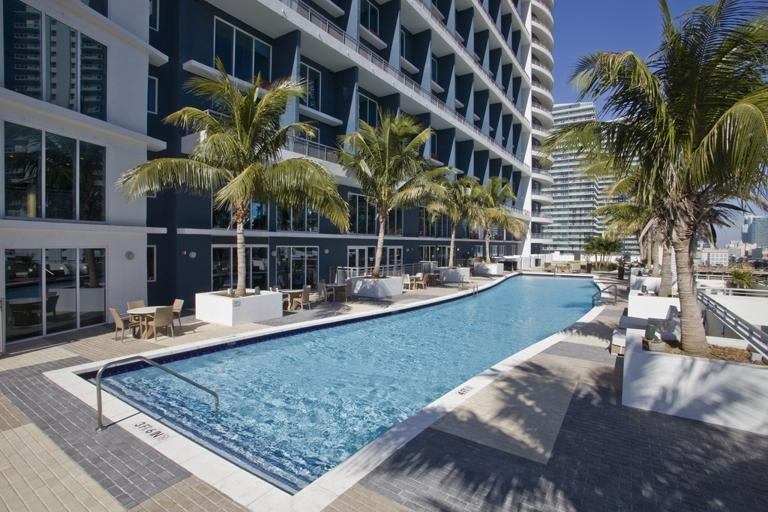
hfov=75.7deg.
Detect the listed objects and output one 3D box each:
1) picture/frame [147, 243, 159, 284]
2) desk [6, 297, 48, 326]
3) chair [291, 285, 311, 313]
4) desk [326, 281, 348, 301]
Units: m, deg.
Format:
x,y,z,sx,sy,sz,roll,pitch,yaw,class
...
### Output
x,y,z,sx,sy,sz,roll,pitch,yaw,class
-9.299,0.279,19.877,0.364,1.076,0.274,-2,1,-22,picture/frame
-10.827,1.652,14.938,0.682,0.690,0.720,4,5,19,desk
-3.260,1.671,20.167,0.808,1.459,0.774,2,1,25,chair
-2.120,1.641,22.152,0.984,0.685,0.697,-1,0,-8,desk
